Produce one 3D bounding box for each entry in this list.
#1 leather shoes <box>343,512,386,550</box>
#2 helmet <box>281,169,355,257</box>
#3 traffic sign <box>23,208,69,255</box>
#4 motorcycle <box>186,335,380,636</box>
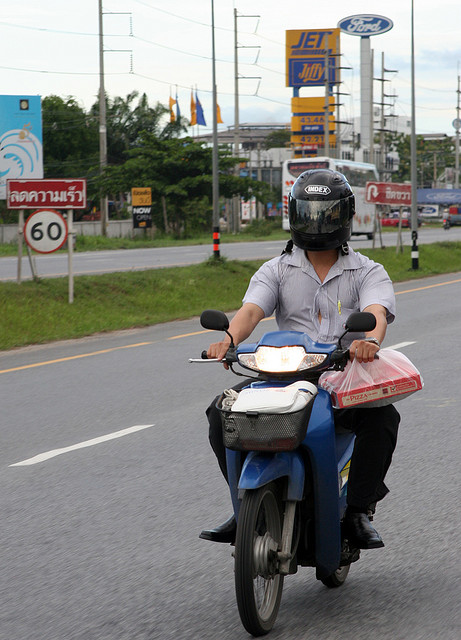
[{"bbox_3d":[0.475,0.753,2.409,0.078,0.086,0.204,-1,-3,-14],"label":"leather shoes"},{"bbox_3d":[0.372,-0.450,2.759,0.290,0.315,0.356,4,10,18],"label":"helmet"},{"bbox_3d":[-3.919,-1.885,14.295,0.898,0.886,0.384,-2,2,-17],"label":"traffic sign"},{"bbox_3d":[0.168,0.482,2.051,0.422,0.644,1.037,-3,-5,20],"label":"motorcycle"}]
